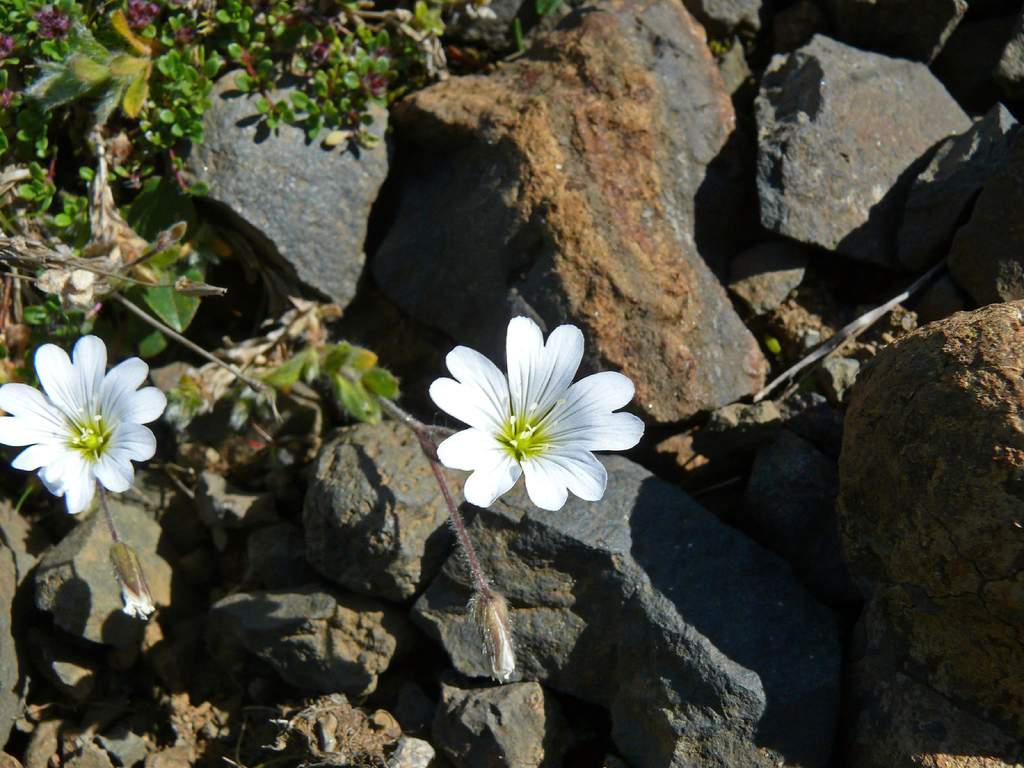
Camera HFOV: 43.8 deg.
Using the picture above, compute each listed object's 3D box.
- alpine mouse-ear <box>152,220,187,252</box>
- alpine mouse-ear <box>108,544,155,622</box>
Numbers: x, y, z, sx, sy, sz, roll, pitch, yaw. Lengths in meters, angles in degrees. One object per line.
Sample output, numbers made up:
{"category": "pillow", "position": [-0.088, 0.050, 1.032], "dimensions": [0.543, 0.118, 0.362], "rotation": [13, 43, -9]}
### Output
{"category": "alpine mouse-ear", "position": [-1.947, -0.841, 7.270], "dimensions": [0.105, 0.338, 0.107], "rotation": [28, 56, -18]}
{"category": "alpine mouse-ear", "position": [-2.085, 1.126, 7.035], "dimensions": [0.156, 0.498, 0.311], "rotation": [-17, 40, -20]}
